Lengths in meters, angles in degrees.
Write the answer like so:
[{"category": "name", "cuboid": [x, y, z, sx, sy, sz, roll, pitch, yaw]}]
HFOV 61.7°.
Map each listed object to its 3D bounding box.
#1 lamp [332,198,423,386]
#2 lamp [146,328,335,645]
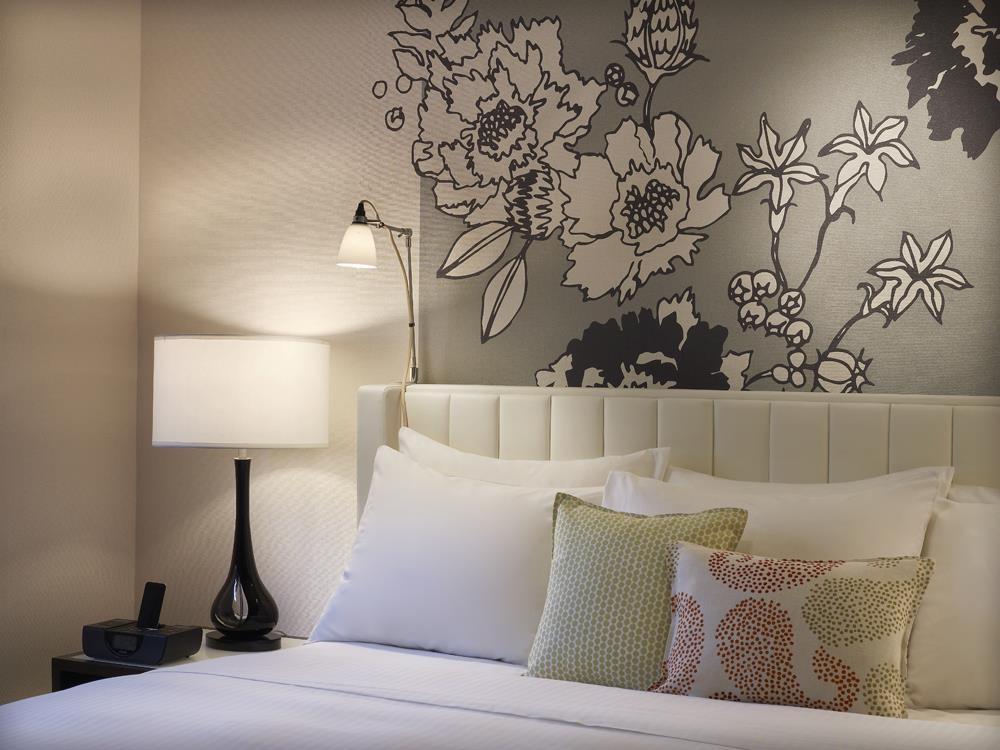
[{"category": "lamp", "cuboid": [-0.439, -0.322, 3.014, 0.267, 0.702, 0.289, 0, -2, 9]}, {"category": "lamp", "cuboid": [-0.939, 0.418, 3.601, 0.905, 1.547, 0.894, 1, -3, -12]}]
